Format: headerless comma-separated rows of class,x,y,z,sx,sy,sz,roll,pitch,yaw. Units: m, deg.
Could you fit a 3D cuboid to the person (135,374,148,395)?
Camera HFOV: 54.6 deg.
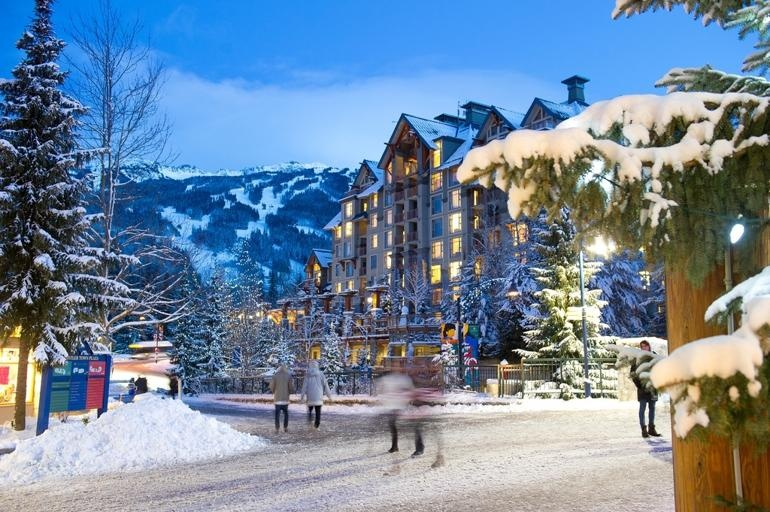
person,-13.737,7.339,41.978,0.592,0.939,1.980,1,-5,-19

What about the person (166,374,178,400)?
person,-11.933,7.411,41.999,0.458,1.282,2.014,1,-4,-16

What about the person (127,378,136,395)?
person,-12.919,6.687,37.907,0.281,0.800,1.192,2,-5,-25

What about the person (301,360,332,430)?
person,-2.139,4.304,22.948,0.805,2.075,1.375,0,-4,-5
